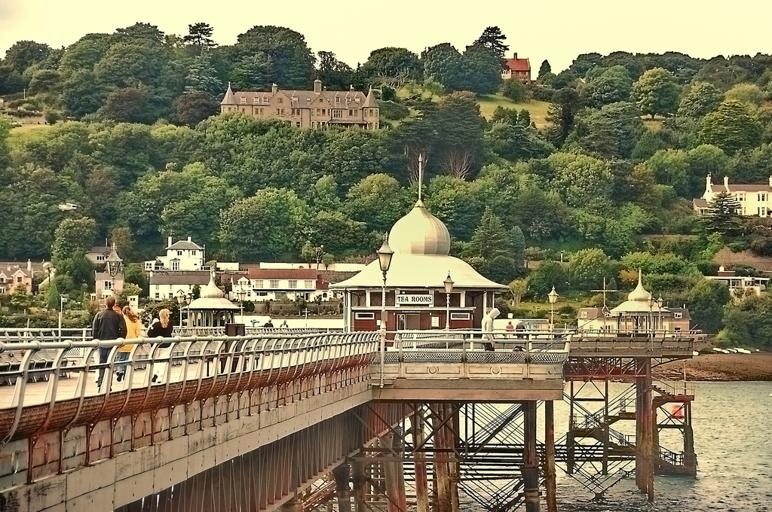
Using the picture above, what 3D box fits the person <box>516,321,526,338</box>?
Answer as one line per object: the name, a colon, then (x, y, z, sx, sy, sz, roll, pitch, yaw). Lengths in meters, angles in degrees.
person: (10.636, 6.023, 130.982, 1.064, 1.431, 0.976, 1, -6, -8)
